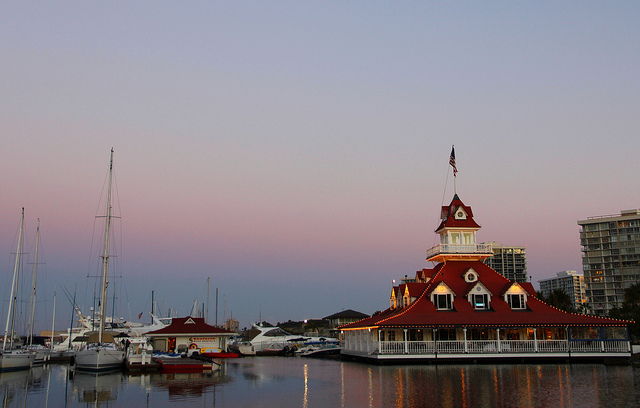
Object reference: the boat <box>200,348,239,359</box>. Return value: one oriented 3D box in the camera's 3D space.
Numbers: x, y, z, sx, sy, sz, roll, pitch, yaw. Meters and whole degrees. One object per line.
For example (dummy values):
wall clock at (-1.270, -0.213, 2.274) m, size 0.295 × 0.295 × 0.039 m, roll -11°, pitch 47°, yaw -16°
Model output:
boat at (-12.954, 19.316, 102.164) m, size 4.907 × 1.079 × 2.849 m, roll 0°, pitch -6°, yaw 5°

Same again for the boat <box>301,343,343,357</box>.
boat at (-0.257, 20.455, 112.481) m, size 6.760 × 1.559 × 2.085 m, roll -16°, pitch -16°, yaw 43°

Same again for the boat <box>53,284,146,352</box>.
boat at (-28.512, 15.998, 106.997) m, size 12.958 × 11.115 × 4.315 m, roll 5°, pitch -4°, yaw -4°

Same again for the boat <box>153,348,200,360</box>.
boat at (-17.165, 18.141, 94.464) m, size 1.228 × 0.507 × 7.365 m, roll 25°, pitch 3°, yaw 31°

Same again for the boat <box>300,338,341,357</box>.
boat at (-0.172, 20.953, 112.055) m, size 2.347 × 2.225 × 6.206 m, roll 2°, pitch -7°, yaw -28°

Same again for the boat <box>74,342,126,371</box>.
boat at (-24.022, 16.293, 87.559) m, size 5.689 × 3.738 × 11.312 m, roll 3°, pitch -6°, yaw -14°

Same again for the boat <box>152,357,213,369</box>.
boat at (-15.178, 17.535, 87.479) m, size 5.218 × 1.381 × 6.750 m, roll 7°, pitch -16°, yaw -29°
